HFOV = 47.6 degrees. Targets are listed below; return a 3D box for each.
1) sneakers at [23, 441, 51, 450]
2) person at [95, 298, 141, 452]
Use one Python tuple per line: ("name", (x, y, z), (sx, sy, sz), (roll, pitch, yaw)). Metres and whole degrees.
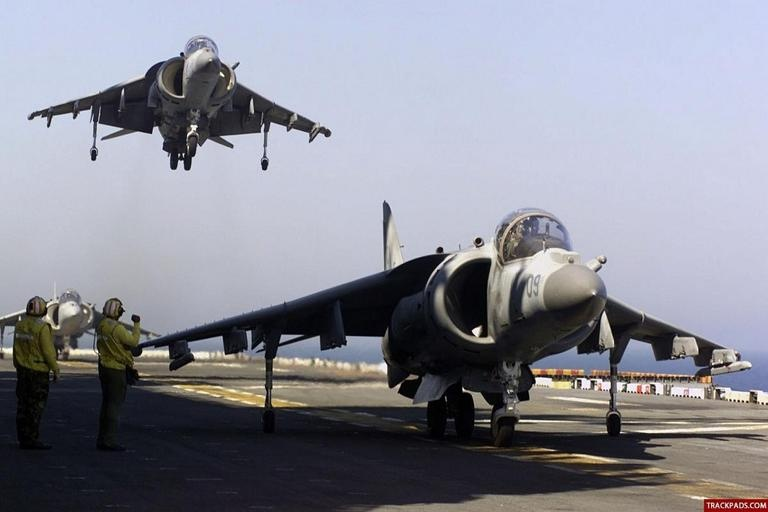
("sneakers", (-6.733, 3.641, 16.923), (0.546, 0.212, 0.181), (1, 8, -13))
("person", (-5.303, 2.301, 17.158), (0.873, 2.933, 0.451), (2, -6, -1))
